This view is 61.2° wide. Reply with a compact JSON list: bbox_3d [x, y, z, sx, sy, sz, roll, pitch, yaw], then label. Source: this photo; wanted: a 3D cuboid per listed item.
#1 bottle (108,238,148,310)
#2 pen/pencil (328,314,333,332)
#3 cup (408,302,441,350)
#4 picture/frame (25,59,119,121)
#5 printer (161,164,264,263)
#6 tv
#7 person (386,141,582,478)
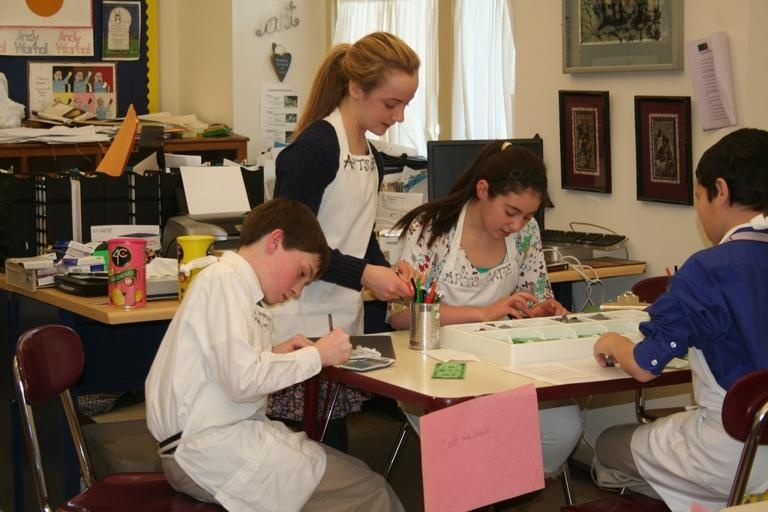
[{"bbox_3d":[-0.999,0.058,2.484,0.173,0.263,0.138,1,4,-3],"label":"bottle"},{"bbox_3d":[-0.200,0.244,2.387,0.016,0.074,0.012,-2,-4,7],"label":"pen/pencil"},{"bbox_3d":[0.137,0.239,2.263,0.121,0.161,0.145,0,0,16],"label":"cup"},{"bbox_3d":[-2.809,-1.492,5.750,0.638,0.491,0.026,-4,6,-24],"label":"picture/frame"},{"bbox_3d":[-0.773,-0.147,3.182,0.554,0.582,0.403,-3,6,-30],"label":"printer"},{"bbox_3d":[0.403,-0.294,2.700,0.470,0.514,0.048,1,3,-1],"label":"tv"},{"bbox_3d":[0.428,0.217,2.601,0.670,1.364,0.713,-7,11,-44],"label":"person"}]
